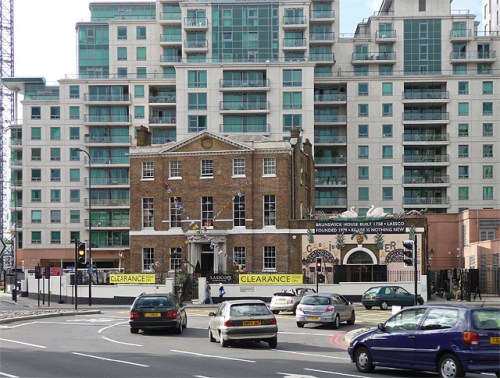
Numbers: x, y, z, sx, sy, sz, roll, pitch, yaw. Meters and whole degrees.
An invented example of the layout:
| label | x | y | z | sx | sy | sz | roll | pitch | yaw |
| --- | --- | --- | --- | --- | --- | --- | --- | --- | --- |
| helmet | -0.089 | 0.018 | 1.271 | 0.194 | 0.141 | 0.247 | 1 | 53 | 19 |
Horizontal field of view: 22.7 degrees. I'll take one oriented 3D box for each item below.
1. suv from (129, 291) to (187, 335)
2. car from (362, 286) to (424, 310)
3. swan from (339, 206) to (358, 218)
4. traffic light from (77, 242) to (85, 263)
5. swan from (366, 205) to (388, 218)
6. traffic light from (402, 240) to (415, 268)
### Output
| label | x | y | z | sx | sy | sz | roll | pitch | yaw |
| --- | --- | --- | --- | --- | --- | --- | --- | --- | --- |
| suv | -8.010 | 10.386 | 105.581 | 4.643 | 3.429 | 2.336 | -1 | -6 | -9 |
| car | 13.786 | 10.696 | 119.911 | 4.970 | 1.948 | 2.840 | -3 | -2 | -10 |
| swan | 10.758 | 2.265 | 133.679 | 1.760 | 1.183 | 1.240 | -2 | -2 | 7 |
| traffic light | -16.066 | 5.797 | 117.218 | 0.701 | 1.948 | 1.301 | 0 | -6 | -15 |
| swan | 13.818 | 2.211 | 133.385 | 1.914 | 1.289 | 1.273 | 4 | -6 | 9 |
| traffic light | 13.425 | 5.160 | 103.440 | 1.079 | 2.091 | 0.702 | 0 | -6 | -18 |
